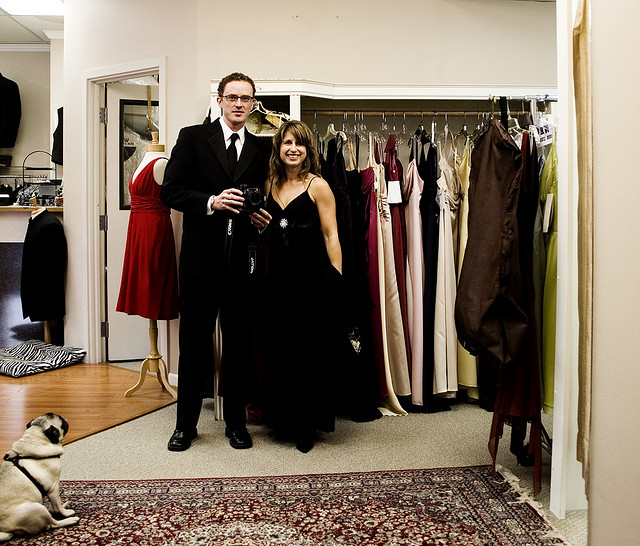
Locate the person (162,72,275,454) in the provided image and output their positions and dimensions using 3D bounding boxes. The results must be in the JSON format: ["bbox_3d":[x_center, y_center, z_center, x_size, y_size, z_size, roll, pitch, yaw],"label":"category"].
[{"bbox_3d":[-0.473,-0.043,2.651,0.528,1.772,0.340,0,4,-7],"label":"person"}]

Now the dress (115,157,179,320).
[{"bbox_3d":[-1.060,-0.202,3.465,0.366,0.994,0.245,-1,4,-18],"label":"dress"}]

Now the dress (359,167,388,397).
[{"bbox_3d":[0.289,0.013,3.064,0.134,1.156,0.183,-2,3,-20],"label":"dress"}]

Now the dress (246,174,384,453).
[{"bbox_3d":[-0.045,0.184,2.731,0.503,1.315,0.254,1,4,7],"label":"dress"}]

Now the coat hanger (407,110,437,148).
[{"bbox_3d":[0.614,-0.800,3.228,0.186,0.300,0.214,2,8,13],"label":"coat hanger"}]

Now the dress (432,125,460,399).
[{"bbox_3d":[0.739,-0.022,3.195,0.194,1.415,0.122,-4,5,-45],"label":"dress"}]

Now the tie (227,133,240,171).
[{"bbox_3d":[-0.410,-0.574,2.671,0.049,0.163,0.022,6,-10,-10],"label":"tie"}]

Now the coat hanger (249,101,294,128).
[{"bbox_3d":[-0.271,-0.913,3.259,0.224,0.143,0.268,1,5,8],"label":"coat hanger"}]

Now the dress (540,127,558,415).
[{"bbox_3d":[0.907,-0.016,2.246,0.067,1.139,0.336,1,4,21],"label":"dress"}]
